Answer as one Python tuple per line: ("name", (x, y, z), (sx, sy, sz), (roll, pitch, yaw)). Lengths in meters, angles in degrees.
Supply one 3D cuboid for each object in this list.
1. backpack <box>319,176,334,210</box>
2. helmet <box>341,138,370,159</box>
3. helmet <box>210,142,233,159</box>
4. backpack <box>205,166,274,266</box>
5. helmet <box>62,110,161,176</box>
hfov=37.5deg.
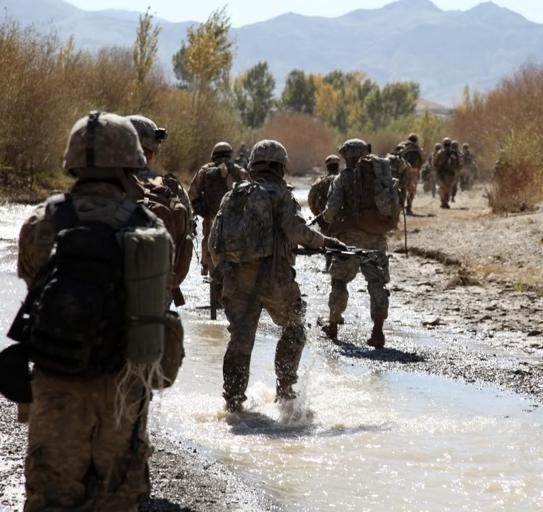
("backpack", (0.706, -0.843, 10.186), (0.129, 0.457, 0.309), (9, 15, 4))
("helmet", (0.822, -1.059, 7.752), (0.162, 0.211, 0.237), (10, 22, 28))
("helmet", (-0.561, -1.205, 9.177), (0.178, 0.237, 0.224), (1, 9, -2))
("backpack", (-0.212, -0.210, 5.526), (0.468, 0.614, 0.258), (3, 7, 11))
("helmet", (-0.736, -0.488, 3.651), (0.260, 0.224, 0.309), (-2, -4, 3))
